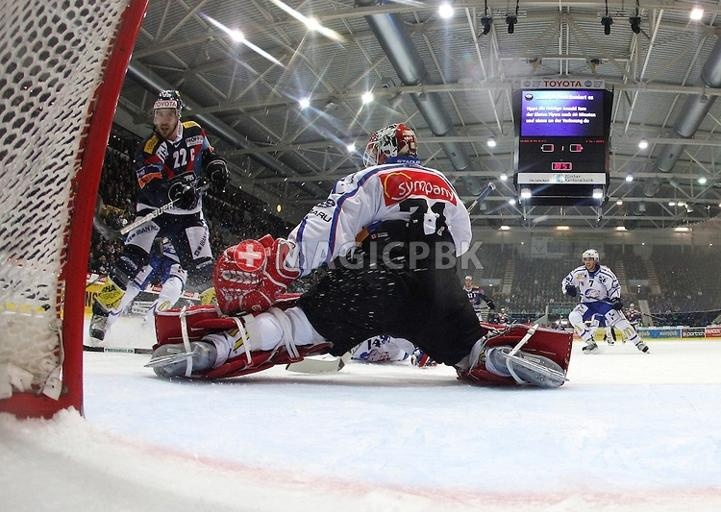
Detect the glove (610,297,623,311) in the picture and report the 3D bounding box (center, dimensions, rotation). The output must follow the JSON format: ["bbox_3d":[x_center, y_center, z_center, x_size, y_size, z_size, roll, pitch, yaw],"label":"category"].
[{"bbox_3d":[4.574,0.865,9.056,0.175,0.212,0.265,-3,-9,23],"label":"glove"}]

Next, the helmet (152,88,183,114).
[{"bbox_3d":[-1.459,-1.138,3.736,0.276,0.217,0.192,-2,21,-12],"label":"helmet"}]

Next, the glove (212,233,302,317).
[{"bbox_3d":[-0.502,0.108,2.509,0.432,0.360,0.143,-1,-8,10],"label":"glove"}]

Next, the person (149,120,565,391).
[{"bbox_3d":[0.011,-0.069,3.099,2.170,1.390,1.170,19,-33,-12],"label":"person"}]

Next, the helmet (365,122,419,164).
[{"bbox_3d":[0.192,-0.644,2.978,0.317,0.251,0.256,18,18,34],"label":"helmet"}]

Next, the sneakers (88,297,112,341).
[{"bbox_3d":[-1.816,0.450,3.552,0.117,0.275,0.251,4,-9,-27],"label":"sneakers"}]

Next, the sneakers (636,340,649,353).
[{"bbox_3d":[4.565,1.458,8.158,0.170,0.134,0.413,38,4,21],"label":"sneakers"}]
